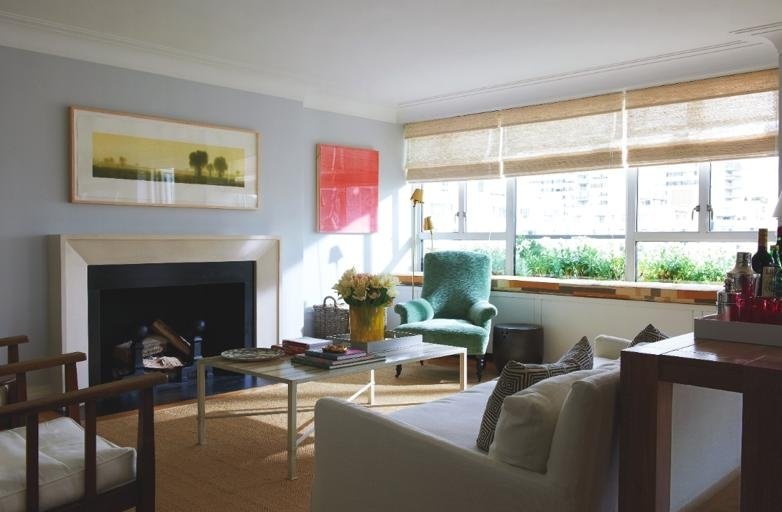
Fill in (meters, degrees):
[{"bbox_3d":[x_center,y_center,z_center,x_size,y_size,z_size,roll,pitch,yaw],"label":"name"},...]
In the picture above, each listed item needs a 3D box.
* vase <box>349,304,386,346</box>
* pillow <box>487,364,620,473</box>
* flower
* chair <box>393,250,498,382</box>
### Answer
[{"bbox_3d":[-0.185,0.540,4.296,0.289,0.295,0.276,1,-3,-24],"label":"vase"},{"bbox_3d":[0.676,0.738,2.476,0.421,0.345,0.264,-2,8,-31],"label":"pillow"},{"bbox_3d":[-0.199,0.330,4.442,0.496,0.450,0.490,3,-6,-31],"label":"flower"},{"bbox_3d":[0.600,0.559,6.028,1.232,1.323,1.244,0,-6,18],"label":"chair"}]
